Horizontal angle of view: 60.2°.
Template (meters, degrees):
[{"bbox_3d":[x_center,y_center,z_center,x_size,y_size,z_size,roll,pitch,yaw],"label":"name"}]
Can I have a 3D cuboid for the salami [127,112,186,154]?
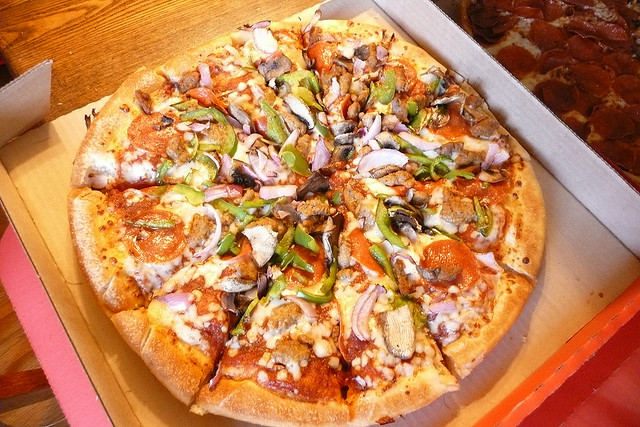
[{"bbox_3d":[-1.024,-0.485,3.356,0.261,0.030,0.300,18,69,4],"label":"salami"}]

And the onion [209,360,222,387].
[{"bbox_3d":[-0.577,0.897,3.108,0.042,0.038,0.148,37,74,-36],"label":"onion"}]

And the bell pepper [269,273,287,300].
[{"bbox_3d":[-0.239,0.408,3.109,0.072,0.032,0.138,36,93,38],"label":"bell pepper"}]

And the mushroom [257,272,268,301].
[{"bbox_3d":[-0.332,0.415,3.153,0.089,0.030,0.122,3,99,-36],"label":"mushroom"}]

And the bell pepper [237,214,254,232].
[{"bbox_3d":[-0.439,0.055,3.290,0.058,0.028,0.116,35,89,37],"label":"bell pepper"}]

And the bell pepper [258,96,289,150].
[{"bbox_3d":[-0.292,-0.566,3.502,0.134,0.094,0.359,-22,80,-1],"label":"bell pepper"}]

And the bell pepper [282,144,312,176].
[{"bbox_3d":[-0.149,-0.316,3.413,0.132,0.084,0.217,-49,114,-20],"label":"bell pepper"}]

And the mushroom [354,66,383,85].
[{"bbox_3d":[0.325,-0.922,3.666,0.120,0.036,0.123,20,51,38],"label":"mushroom"}]

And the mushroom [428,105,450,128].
[{"bbox_3d":[0.761,-0.627,3.537,0.116,0.044,0.127,-4,92,-10],"label":"mushroom"}]

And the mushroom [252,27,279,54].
[{"bbox_3d":[-0.360,-1.156,3.667,0.180,0.051,0.178,-36,90,-38],"label":"mushroom"}]

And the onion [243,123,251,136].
[{"bbox_3d":[-0.459,-0.528,3.440,0.037,0.019,0.078,-6,117,1],"label":"onion"}]

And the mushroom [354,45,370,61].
[{"bbox_3d":[0.284,-1.084,3.714,0.093,0.029,0.099,3,93,34],"label":"mushroom"}]

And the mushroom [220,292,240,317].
[{"bbox_3d":[-0.519,0.515,3.125,0.092,0.058,0.140,-12,82,0],"label":"mushroom"}]

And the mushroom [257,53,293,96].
[{"bbox_3d":[-0.291,-0.937,3.680,0.286,0.218,0.203,26,34,37],"label":"mushroom"}]

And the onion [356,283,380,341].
[{"bbox_3d":[0.274,0.556,3.107,0.099,0.082,0.293,25,56,-30],"label":"onion"}]

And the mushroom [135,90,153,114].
[{"bbox_3d":[-1.098,-0.699,3.421,0.037,0.130,0.137,-26,66,30],"label":"mushroom"}]

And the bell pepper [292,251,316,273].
[{"bbox_3d":[-0.102,0.292,3.215,0.192,0.053,0.059,37,99,6],"label":"bell pepper"}]

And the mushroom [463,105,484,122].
[{"bbox_3d":[0.983,-0.642,3.540,0.112,0.030,0.115,-6,60,-22],"label":"mushroom"}]

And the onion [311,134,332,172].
[{"bbox_3d":[0.021,-0.362,3.388,0.119,0.045,0.198,-4,101,-18],"label":"onion"}]

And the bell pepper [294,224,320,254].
[{"bbox_3d":[-0.086,0.159,3.238,0.146,0.155,0.053,23,63,-2],"label":"bell pepper"}]

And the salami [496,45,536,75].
[{"bbox_3d":[1.351,-1.042,3.755,0.021,0.271,0.251,-34,118,-12],"label":"salami"}]

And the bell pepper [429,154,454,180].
[{"bbox_3d":[0.733,-0.287,3.369,0.118,0.057,0.169,22,94,7],"label":"bell pepper"}]

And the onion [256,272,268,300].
[{"bbox_3d":[-0.333,0.404,3.151,0.032,0.100,0.130,0,86,42],"label":"onion"}]

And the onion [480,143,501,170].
[{"bbox_3d":[1.065,-0.360,3.441,0.078,0.054,0.199,19,107,9],"label":"onion"}]

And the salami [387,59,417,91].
[{"bbox_3d":[0.591,-0.950,3.769,0.192,0.029,0.214,14,63,-15],"label":"salami"}]

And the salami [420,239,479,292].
[{"bbox_3d":[0.768,0.306,3.294,0.293,0.089,0.296,-42,81,-14],"label":"salami"}]

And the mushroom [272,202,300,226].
[{"bbox_3d":[-0.203,0.001,3.269,0.161,0.057,0.109,35,81,-14],"label":"mushroom"}]

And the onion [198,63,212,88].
[{"bbox_3d":[-0.742,-0.897,3.545,0.063,0.051,0.162,-11,88,-26],"label":"onion"}]

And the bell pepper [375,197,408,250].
[{"bbox_3d":[0.384,0.061,3.241,0.254,0.207,0.218,3,113,-5],"label":"bell pepper"}]

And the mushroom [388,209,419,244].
[{"bbox_3d":[0.496,0.060,3.268,0.201,0.158,0.067,36,35,10],"label":"mushroom"}]

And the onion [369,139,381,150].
[{"bbox_3d":[0.340,-0.430,3.453,0.039,0.020,0.079,-31,86,14],"label":"onion"}]

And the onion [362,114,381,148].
[{"bbox_3d":[0.327,-0.522,3.533,0.101,0.059,0.206,16,89,-9],"label":"onion"}]

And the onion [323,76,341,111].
[{"bbox_3d":[0.082,-0.785,3.625,0.109,0.047,0.198,23,87,45],"label":"onion"}]

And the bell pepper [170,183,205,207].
[{"bbox_3d":[-0.786,-0.110,3.261,0.187,0.052,0.116,14,62,-4],"label":"bell pepper"}]

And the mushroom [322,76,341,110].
[{"bbox_3d":[0.081,-0.785,3.615,0.106,0.045,0.193,21,87,37],"label":"mushroom"}]

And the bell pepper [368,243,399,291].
[{"bbox_3d":[0.383,0.304,3.196,0.078,0.042,0.292,-36,83,-3],"label":"bell pepper"}]

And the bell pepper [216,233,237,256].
[{"bbox_3d":[-0.558,0.174,3.256,0.074,0.037,0.148,29,95,-36],"label":"bell pepper"}]

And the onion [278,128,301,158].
[{"bbox_3d":[-0.193,-0.433,3.419,0.051,0.063,0.245,38,81,-16],"label":"onion"}]

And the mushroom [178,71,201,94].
[{"bbox_3d":[-0.842,-0.845,3.571,0.164,0.040,0.090,-41,90,-5],"label":"mushroom"}]

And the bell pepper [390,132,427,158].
[{"bbox_3d":[0.546,-0.428,3.459,0.207,0.049,0.065,38,101,4],"label":"bell pepper"}]

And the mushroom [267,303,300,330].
[{"bbox_3d":[-0.205,0.570,3.062,0.187,0.044,0.122,-12,82,0],"label":"mushroom"}]

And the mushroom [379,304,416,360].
[{"bbox_3d":[0.439,0.671,3.093,0.183,0.062,0.275,-16,92,-5],"label":"mushroom"}]

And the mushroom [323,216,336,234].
[{"bbox_3d":[0.056,0.068,3.248,0.053,0.025,0.085,35,77,13],"label":"mushroom"}]

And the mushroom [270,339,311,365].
[{"bbox_3d":[-0.171,0.762,3.019,0.200,0.083,0.122,-1,82,1],"label":"mushroom"}]

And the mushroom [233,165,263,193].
[{"bbox_3d":[-0.445,-0.209,3.353,0.187,0.046,0.122,42,85,-5],"label":"mushroom"}]

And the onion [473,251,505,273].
[{"bbox_3d":[1.015,0.278,3.303,0.185,0.080,0.050,22,56,-8],"label":"onion"}]
